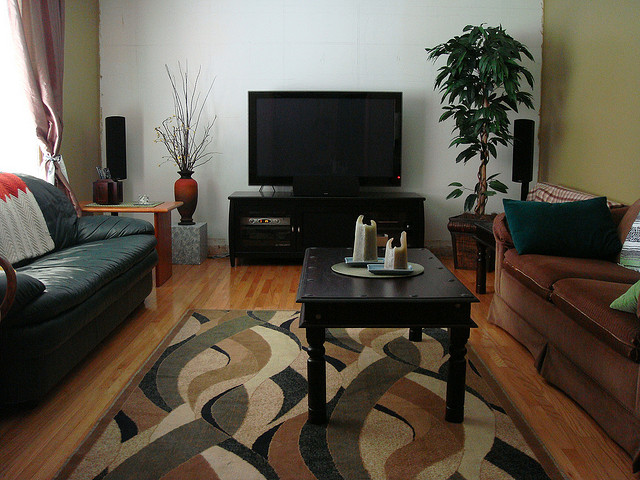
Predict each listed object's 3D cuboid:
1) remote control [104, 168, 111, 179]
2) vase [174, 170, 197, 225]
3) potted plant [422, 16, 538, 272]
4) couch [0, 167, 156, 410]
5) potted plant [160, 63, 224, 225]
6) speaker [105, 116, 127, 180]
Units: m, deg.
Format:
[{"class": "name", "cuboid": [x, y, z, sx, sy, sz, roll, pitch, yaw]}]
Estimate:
[{"class": "remote control", "cuboid": [-2.068, -0.656, 4.721, 0.022, 0.087, 0.088, -4, -4, 7]}, {"class": "vase", "cuboid": [-1.416, -0.452, 5.131, 0.232, 0.564, 0.195, -6, 15, -18]}, {"class": "potted plant", "cuboid": [1.565, -1.020, 4.977, 1.074, 2.538, 1.257, 4, 15, 23]}, {"class": "couch", "cuboid": [-1.528, 0.315, 3.048, 0.599, 0.694, 1.361, 2, 11, -8]}, {"class": "potted plant", "cuboid": [-1.413, -1.060, 5.302, 0.603, 1.711, 0.670, 12, 19, 43]}, {"class": "speaker", "cuboid": [-2.140, -0.973, 5.078, 0.178, 0.642, 0.188, 8, 15, 16]}]
